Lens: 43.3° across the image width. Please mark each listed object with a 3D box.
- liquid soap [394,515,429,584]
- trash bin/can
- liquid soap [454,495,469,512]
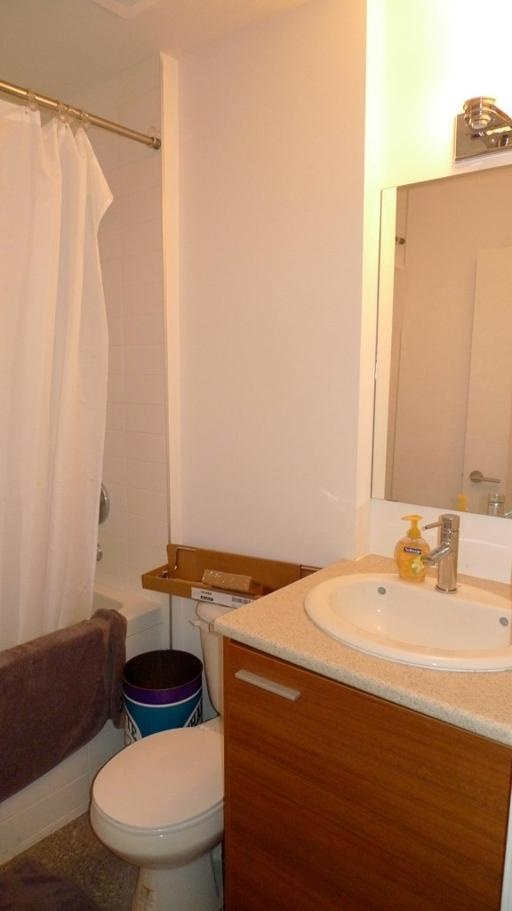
[{"bbox_3d":[0.338,0.197,1.389,0.070,0.151,0.043,2,11,22],"label":"liquid soap"},{"bbox_3d":[-0.269,0.692,1.888,0.217,0.283,0.240,2,18,4],"label":"trash bin/can"},{"bbox_3d":[0.464,0.107,1.455,0.010,0.037,0.022,-5,14,-9],"label":"liquid soap"}]
